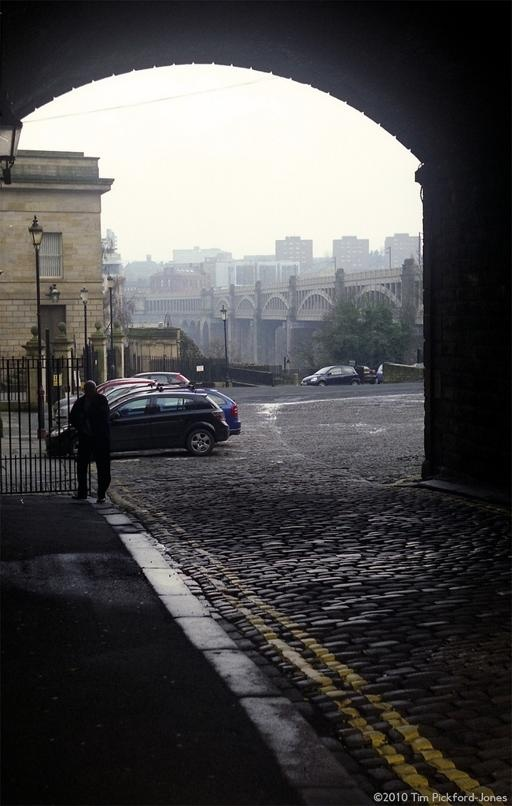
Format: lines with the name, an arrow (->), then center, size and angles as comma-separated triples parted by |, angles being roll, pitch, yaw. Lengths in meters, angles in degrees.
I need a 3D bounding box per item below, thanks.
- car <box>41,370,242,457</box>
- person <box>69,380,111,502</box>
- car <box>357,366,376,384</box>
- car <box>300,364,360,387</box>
car -> -2.266, 0.204, 18.546 | 3.142, 1.235, 1.604 | 0, 0, -12
person -> -2.220, 0.513, 12.269 | 0.517, 1.605, 0.712 | -1, 4, -12
car -> 6.610, -1.713, 55.893 | 0.817, 1.112, 1.584 | 1, 3, 11
car -> 4.317, -1.569, 54.491 | 2.487, 1.318, 1.531 | 2, -2, -25
